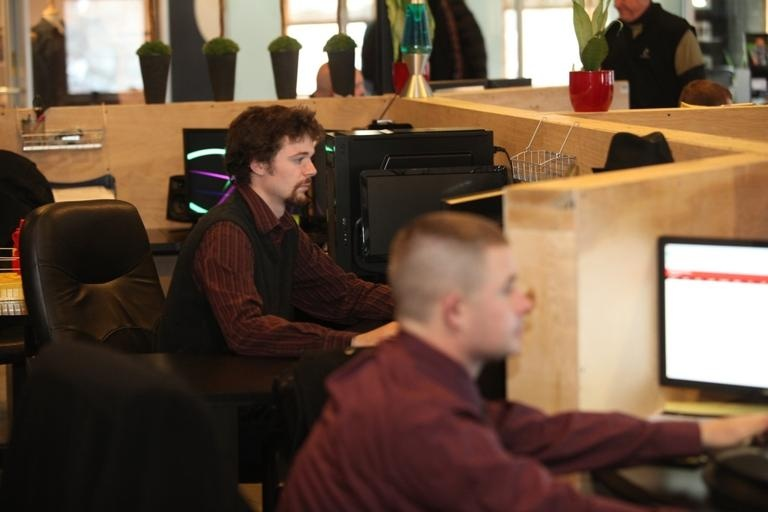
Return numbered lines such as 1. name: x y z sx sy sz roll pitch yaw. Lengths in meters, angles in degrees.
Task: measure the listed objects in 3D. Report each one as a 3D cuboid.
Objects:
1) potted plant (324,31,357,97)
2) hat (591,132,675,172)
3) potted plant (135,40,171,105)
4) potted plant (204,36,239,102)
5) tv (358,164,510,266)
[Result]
1. potted plant: -0.228 -0.971 3.543 0.159 0.317 0.222 2 4 -5
2. hat: 0.537 -0.225 1.479 0.155 0.075 0.214 0 7 18
3. potted plant: -1.135 -0.913 3.404 0.157 0.325 0.165 2 4 -11
4. potted plant: -0.816 -0.935 3.428 0.161 0.323 0.190 1 4 -15
5. tv: 0.138 -0.124 2.111 0.500 0.247 0.347 -1 0 -6
